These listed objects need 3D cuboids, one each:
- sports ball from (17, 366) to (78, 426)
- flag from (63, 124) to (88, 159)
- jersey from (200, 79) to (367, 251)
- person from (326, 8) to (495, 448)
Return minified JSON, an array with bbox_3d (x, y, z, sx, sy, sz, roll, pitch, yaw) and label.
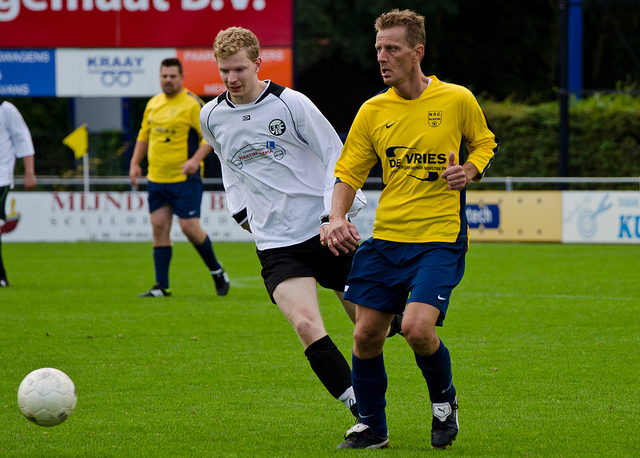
[{"bbox_3d":[-2.091,1.313,8.264,0.403,0.439,0.411,-5,-11,-1],"label":"sports ball"},{"bbox_3d":[-3.125,-1.090,13.718,0.295,0.428,0.713,-2,13,-13],"label":"flag"},{"bbox_3d":[-0.360,-0.594,8.937,1.330,1.379,0.639,-6,13,34],"label":"jersey"},{"bbox_3d":[0.659,-0.006,8.290,1.222,3.274,0.819,0,11,0],"label":"person"}]
